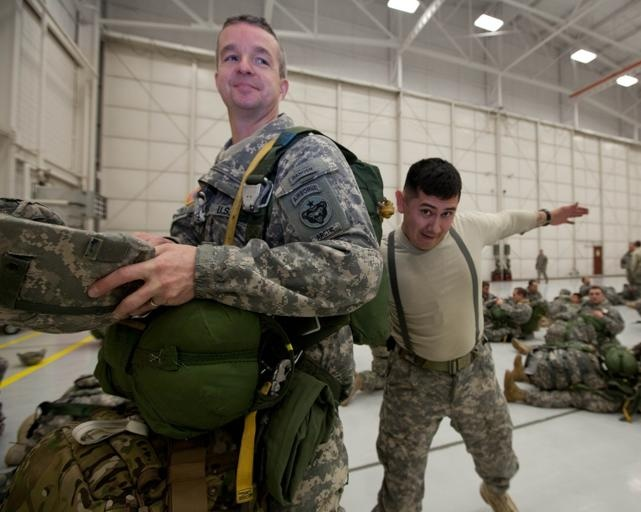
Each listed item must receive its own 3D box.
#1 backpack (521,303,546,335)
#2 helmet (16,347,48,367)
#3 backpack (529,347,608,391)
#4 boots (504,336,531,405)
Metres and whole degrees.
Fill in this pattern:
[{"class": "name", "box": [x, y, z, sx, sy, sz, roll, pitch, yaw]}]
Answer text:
[{"class": "backpack", "box": [2.849, 0.851, 6.835, 0.171, 0.459, 0.353, 30, 17, 19]}, {"class": "helmet", "box": [-2.966, 1.043, 5.221, 0.244, 0.107, 0.319, -5, 13, -25]}, {"class": "backpack", "box": [2.126, 0.971, 4.592, 0.759, 0.307, 0.497, 2, 10, 5]}, {"class": "boots", "box": [1.893, 1.128, 4.962, 0.315, 0.610, 0.188, -23, 28, -8]}]
